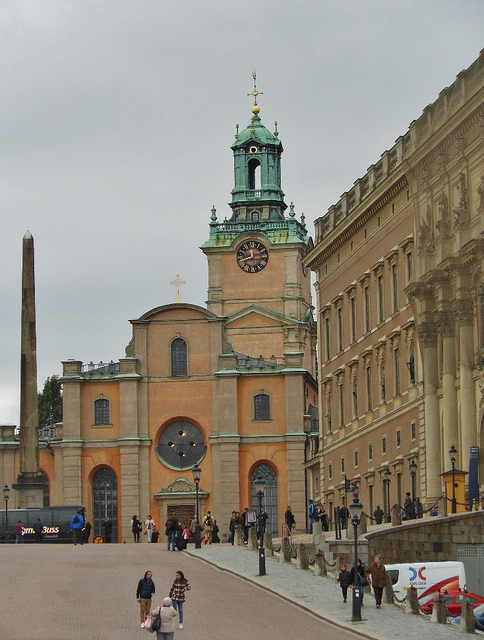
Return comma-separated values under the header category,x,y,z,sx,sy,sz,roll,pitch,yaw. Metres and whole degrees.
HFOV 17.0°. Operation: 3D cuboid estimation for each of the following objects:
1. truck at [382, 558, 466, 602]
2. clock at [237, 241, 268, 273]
category,x,y,z,sx,sy,sz,roll,pitch,yaw
truck,5.309,7.350,46.369,1.840,1.312,1.214,-1,-10,5
clock,1.018,-4.201,114.242,1.638,2.133,0.138,-3,-7,11
